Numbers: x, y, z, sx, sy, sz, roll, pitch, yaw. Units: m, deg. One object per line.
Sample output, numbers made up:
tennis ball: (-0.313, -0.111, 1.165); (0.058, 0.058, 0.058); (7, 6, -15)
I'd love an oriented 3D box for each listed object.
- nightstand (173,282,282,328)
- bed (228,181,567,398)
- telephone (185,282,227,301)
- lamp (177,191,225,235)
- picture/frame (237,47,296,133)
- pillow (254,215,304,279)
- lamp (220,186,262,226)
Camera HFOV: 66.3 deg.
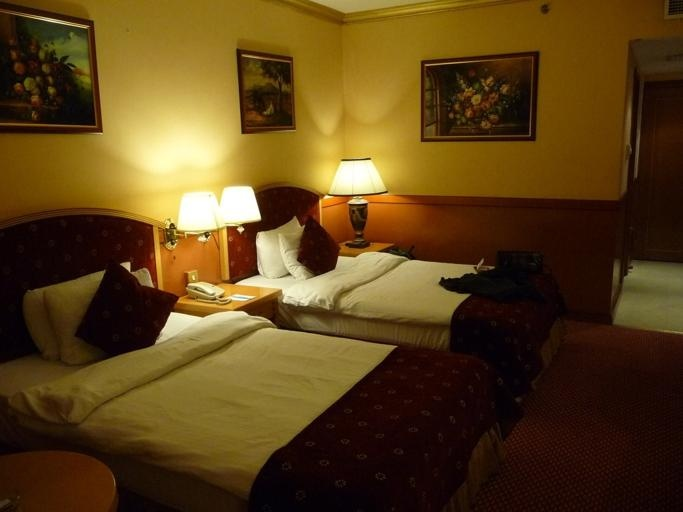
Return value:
nightstand: (-0.916, 0.382, 4.377); (0.414, 0.342, 0.443); (6, 12, 20)
bed: (0.532, 0.191, 5.004); (2.592, 1.441, 1.784); (5, 15, 24)
telephone: (-1.137, 0.285, 4.355); (0.217, 0.093, 0.166); (4, 16, 16)
lamp: (-1.193, -0.334, 4.384); (0.382, 0.374, 0.403); (-1, 11, 2)
picture/frame: (-0.744, -1.652, 5.280); (0.039, 0.794, 0.883); (9, 19, 29)
pillow: (-0.633, -0.065, 5.164); (0.177, 0.410, 0.528); (1, 18, 30)
lamp: (-0.973, -0.423, 4.809); (0.287, 0.294, 0.297); (-12, 5, 1)
